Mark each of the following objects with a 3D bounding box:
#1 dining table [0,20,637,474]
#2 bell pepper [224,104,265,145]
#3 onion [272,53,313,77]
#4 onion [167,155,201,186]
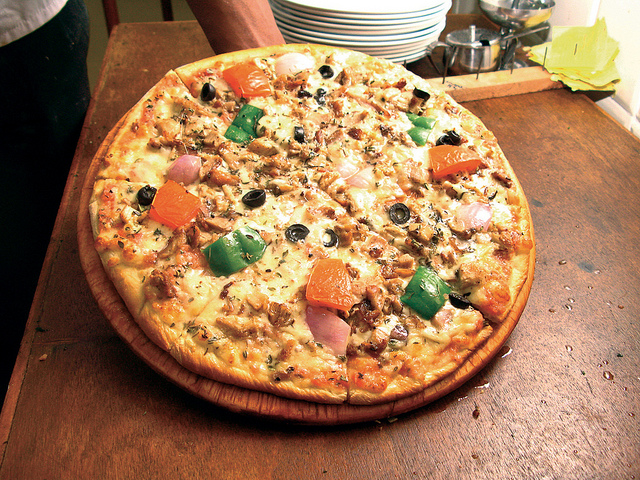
[{"bbox_3d":[0.151,-0.023,2.670,2.867,0.577,2.242,1,62,5],"label":"dining table"},{"bbox_3d":[-0.348,-0.536,2.604,0.159,0.074,0.220,27,80,-1],"label":"bell pepper"},{"bbox_3d":[-0.138,-0.877,2.807,0.150,0.084,0.136,9,26,37],"label":"onion"},{"bbox_3d":[-0.589,-0.306,2.449,0.130,0.047,0.132,29,81,11],"label":"onion"}]
